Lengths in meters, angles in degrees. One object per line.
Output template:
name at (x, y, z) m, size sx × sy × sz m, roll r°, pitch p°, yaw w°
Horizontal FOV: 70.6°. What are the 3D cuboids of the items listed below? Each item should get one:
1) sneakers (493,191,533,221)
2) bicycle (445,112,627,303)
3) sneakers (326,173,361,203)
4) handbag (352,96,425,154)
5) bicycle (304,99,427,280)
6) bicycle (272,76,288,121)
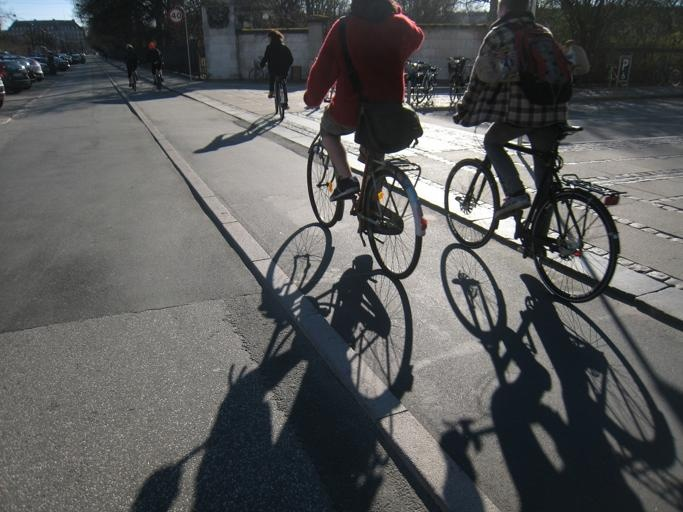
sneakers at (1.545, -0.443, 4.365) m, size 0.137 × 0.171 × 0.390 m, roll -28°, pitch 10°, yaw -10°
bicycle at (1.608, -0.642, 4.336) m, size 0.832 × 1.320 × 1.946 m, roll -23°, pitch 26°, yaw -22°
sneakers at (0.018, -0.644, 4.706) m, size 0.126 × 0.201 × 0.404 m, roll -1°, pitch 11°, yaw -26°
handbag at (0.456, -1.105, 4.300) m, size 0.535 × 0.494 × 0.514 m, roll -18°, pitch 15°, yaw -42°
bicycle at (0.147, -0.779, 4.788) m, size 0.775 × 1.475 × 2.129 m, roll -13°, pitch 28°, yaw -29°
bicycle at (-1.715, -4.458, 13.743) m, size 0.346 × 1.077 × 1.023 m, roll -3°, pitch 24°, yaw -7°
